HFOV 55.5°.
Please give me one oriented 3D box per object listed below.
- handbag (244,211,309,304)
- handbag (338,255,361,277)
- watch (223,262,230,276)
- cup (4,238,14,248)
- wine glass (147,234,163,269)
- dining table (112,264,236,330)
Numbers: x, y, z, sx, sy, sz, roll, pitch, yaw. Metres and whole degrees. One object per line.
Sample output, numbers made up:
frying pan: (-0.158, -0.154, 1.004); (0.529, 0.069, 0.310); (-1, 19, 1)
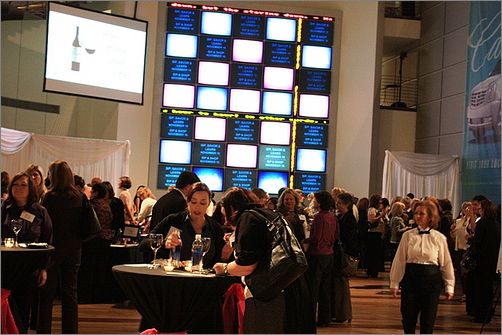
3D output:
handbag: (0.234, 0.781, 4.246); (0.549, 0.808, 0.202); (-1, -4, 26)
handbag: (1.584, 1.513, 7.301); (0.389, 0.459, 0.270); (3, -9, -15)
watch: (-0.224, 0.957, 4.460); (0.035, 0.100, 0.074); (6, -9, 0)
cup: (-2.714, 0.842, 5.301); (0.097, 0.098, 0.101); (1, -6, 0)
wine glass: (-0.978, 0.843, 4.904); (0.146, 0.340, 0.438); (2, -4, -10)
dining table: (-0.768, 1.162, 4.524); (0.763, 0.375, 0.744); (17, -18, -36)
